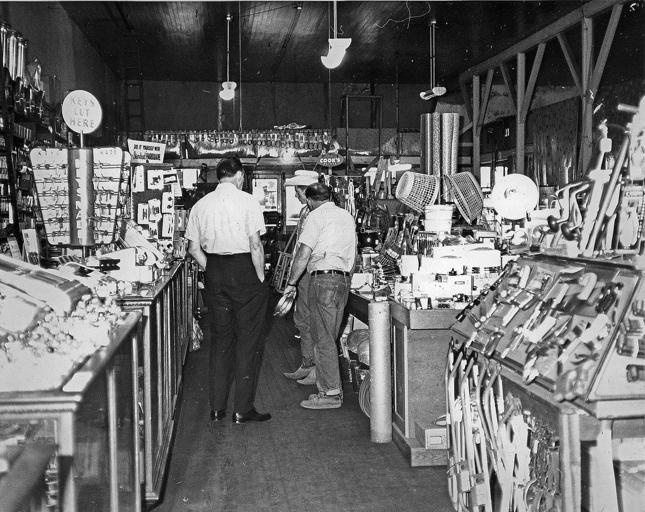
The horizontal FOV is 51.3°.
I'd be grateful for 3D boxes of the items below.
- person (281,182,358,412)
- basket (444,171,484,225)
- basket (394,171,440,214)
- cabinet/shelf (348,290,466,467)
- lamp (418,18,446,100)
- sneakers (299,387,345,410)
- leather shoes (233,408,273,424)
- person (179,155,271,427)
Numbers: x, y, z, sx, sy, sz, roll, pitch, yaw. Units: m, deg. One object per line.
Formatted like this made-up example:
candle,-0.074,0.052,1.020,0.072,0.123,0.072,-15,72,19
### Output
person,-0.006,0.375,5.135,0.512,1.573,0.301,0,4,-1
basket,1.114,-0.462,5.248,0.316,0.399,0.269,0,4,-2
basket,0.745,-0.505,5.279,0.328,0.321,0.246,1,5,13
cabinet/shelf,0.646,0.776,4.484,0.331,0.948,1.010,-1,1,-5
lamp,1.985,-3.678,12.178,0.302,1.631,1.320,1,15,10
sneakers,-0.004,1.101,5.172,0.219,0.110,0.154,2,-1,-3
leather shoes,-0.507,1.154,4.877,0.296,0.150,0.106,-2,-2,-13
person,-0.668,0.246,4.762,0.560,1.886,0.307,-1,4,-10
